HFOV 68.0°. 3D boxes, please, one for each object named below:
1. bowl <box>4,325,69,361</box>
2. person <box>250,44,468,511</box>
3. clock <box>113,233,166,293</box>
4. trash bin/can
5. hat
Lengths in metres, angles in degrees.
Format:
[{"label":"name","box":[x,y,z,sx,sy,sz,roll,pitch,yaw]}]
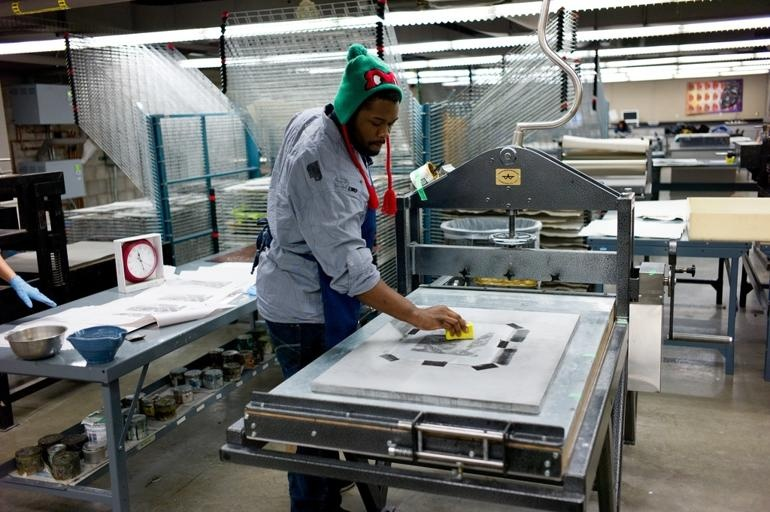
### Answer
[{"label":"bowl","box":[-1.868,0.460,3.081,0.289,0.137,0.265,-1,11,0]},{"label":"person","box":[-0.226,-0.141,2.642,1.045,1.588,0.429,7,14,34]},{"label":"clock","box":[-1.697,0.058,3.938,0.145,0.454,0.445,3,10,39]},{"label":"trash bin/can","box":[0.801,-0.096,4.428,0.666,0.449,0.649,-2,7,0]},{"label":"hat","box":[-0.087,-0.788,2.596,0.345,0.356,0.343,22,34,31]}]
